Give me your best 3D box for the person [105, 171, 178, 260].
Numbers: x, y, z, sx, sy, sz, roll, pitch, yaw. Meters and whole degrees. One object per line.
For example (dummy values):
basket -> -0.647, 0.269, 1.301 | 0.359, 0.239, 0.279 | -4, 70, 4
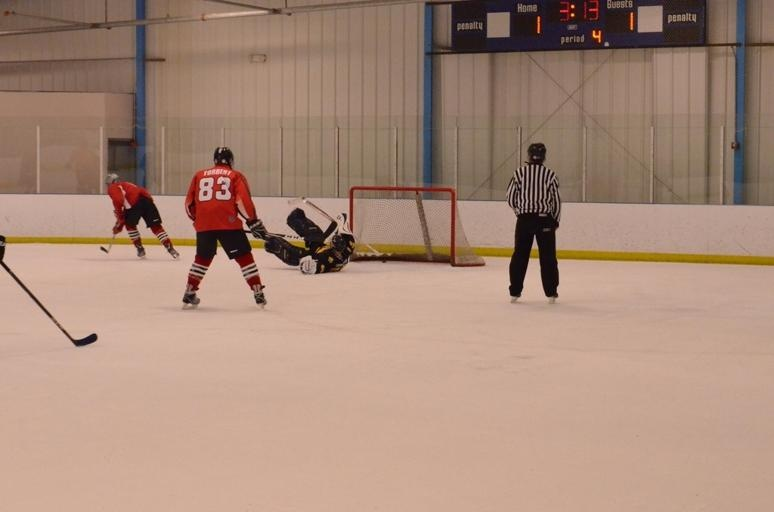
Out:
person -> -3.286, -0.532, 12.610 | 0.810, 1.105, 0.642 | -3, 12, -17

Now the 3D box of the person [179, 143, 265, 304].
person -> -1.482, -0.243, 8.574 | 0.743, 1.408, 0.488 | -2, 11, -9

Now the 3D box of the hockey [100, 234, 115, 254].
hockey -> -4.110, -0.177, 13.920 | 0.072, 0.241, 0.234 | 16, -2, 1

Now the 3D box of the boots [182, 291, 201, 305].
boots -> -1.760, 0.377, 8.577 | 0.078, 0.142, 0.201 | 5, 8, 18

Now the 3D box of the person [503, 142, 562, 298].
person -> 1.374, -0.196, 8.823 | 0.490, 1.281, 0.242 | 2, 11, 9

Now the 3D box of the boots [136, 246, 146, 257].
boots -> -3.305, -0.058, 12.701 | 0.094, 0.129, 0.104 | -21, -15, 13

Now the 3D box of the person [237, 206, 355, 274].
person -> -0.879, -0.105, 11.072 | 1.099, 0.467, 1.130 | -4, -16, -14
